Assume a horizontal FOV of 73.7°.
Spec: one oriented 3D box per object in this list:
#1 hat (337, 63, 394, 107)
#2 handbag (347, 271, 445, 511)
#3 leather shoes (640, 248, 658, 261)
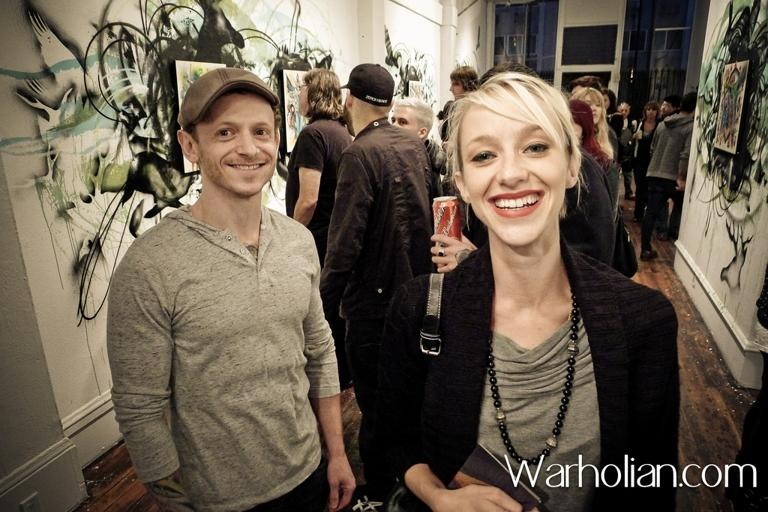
[{"bbox_3d":[-0.124,-1.134,3.507,0.264,0.196,0.342,-8,44,-25],"label":"hat"},{"bbox_3d":[0.080,0.505,2.008,0.276,0.740,0.555,7,0,14],"label":"handbag"},{"bbox_3d":[3.723,-0.023,7.170,0.300,0.120,0.111,-21,31,-28],"label":"leather shoes"}]
